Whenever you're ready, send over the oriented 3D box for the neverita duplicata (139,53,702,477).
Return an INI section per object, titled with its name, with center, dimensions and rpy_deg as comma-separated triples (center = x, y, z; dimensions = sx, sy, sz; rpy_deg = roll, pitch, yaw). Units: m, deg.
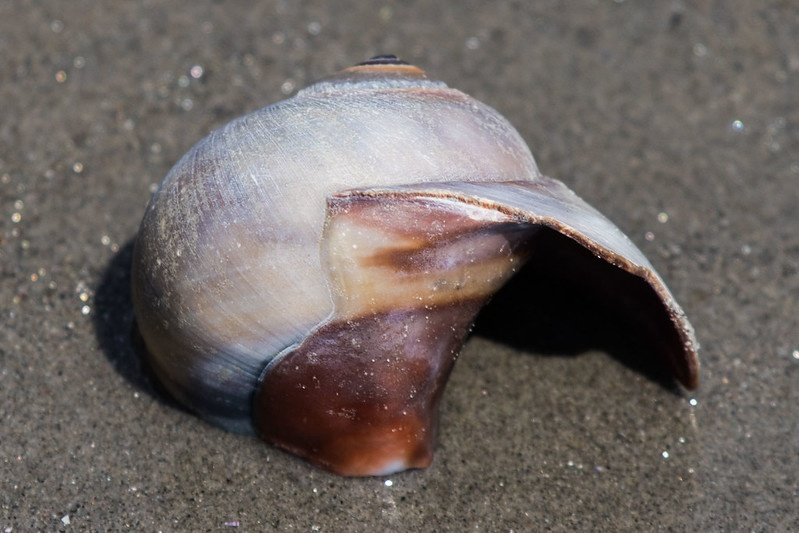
[neverita duplicata]
center = -0.058, 0.029, 1.929
dimensions = 0.820, 0.417, 0.790
rpy_deg = -34, 66, -22
